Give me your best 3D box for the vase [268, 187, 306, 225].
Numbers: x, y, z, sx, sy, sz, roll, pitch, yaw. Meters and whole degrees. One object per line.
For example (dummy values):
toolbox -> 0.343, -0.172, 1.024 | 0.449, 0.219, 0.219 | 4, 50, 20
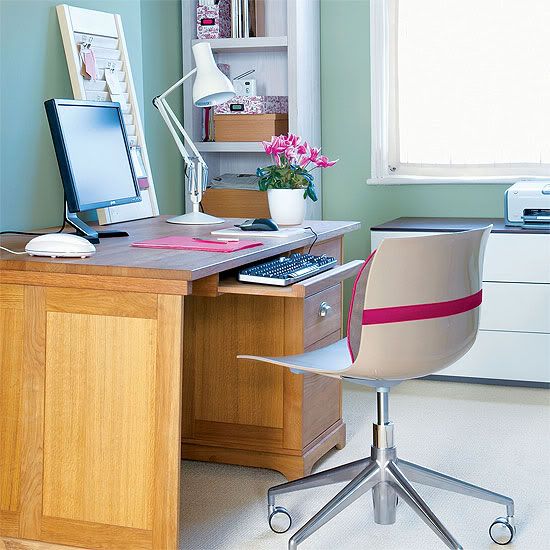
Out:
vase -> 0.035, -0.261, 2.333 | 0.188, 0.117, 0.156 | -3, 0, -19

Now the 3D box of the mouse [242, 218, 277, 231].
mouse -> -0.056, -0.174, 2.031 | 0.104, 0.030, 0.055 | 3, 4, 14

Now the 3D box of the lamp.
lamp -> -0.386, -0.725, 2.748 | 0.335, 0.967, 1.226 | -3, 7, -9

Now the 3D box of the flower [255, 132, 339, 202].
flower -> 0.058, -0.407, 2.411 | 0.296, 0.270, 0.294 | 9, 5, 21

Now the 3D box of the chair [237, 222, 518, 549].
chair -> 0.229, 0.266, 1.927 | 0.929, 0.925, 0.883 | 4, 7, 32
